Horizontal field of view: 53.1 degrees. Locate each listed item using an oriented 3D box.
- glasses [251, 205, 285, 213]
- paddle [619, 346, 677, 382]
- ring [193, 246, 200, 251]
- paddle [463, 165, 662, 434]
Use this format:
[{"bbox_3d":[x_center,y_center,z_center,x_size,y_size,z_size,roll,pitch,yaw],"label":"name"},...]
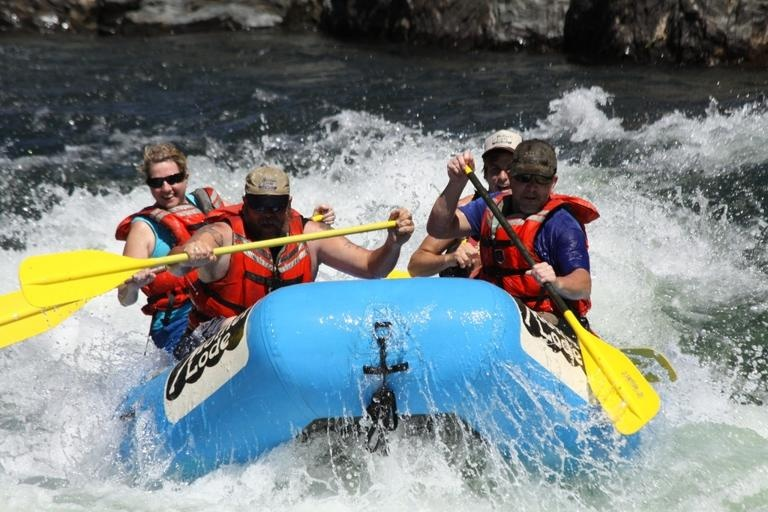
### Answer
[{"bbox_3d":[-0.952,-0.385,6.351,0.240,0.064,0.028,-4,31,-6],"label":"glasses"},{"bbox_3d":[2.312,0.915,6.772,0.473,0.288,0.100,37,49,11],"label":"paddle"},{"bbox_3d":[-1.498,-0.058,6.121,0.033,0.012,0.032,2,72,-5],"label":"ring"},{"bbox_3d":[1.534,0.443,6.682,0.503,0.194,3.018,-36,77,1],"label":"paddle"}]
